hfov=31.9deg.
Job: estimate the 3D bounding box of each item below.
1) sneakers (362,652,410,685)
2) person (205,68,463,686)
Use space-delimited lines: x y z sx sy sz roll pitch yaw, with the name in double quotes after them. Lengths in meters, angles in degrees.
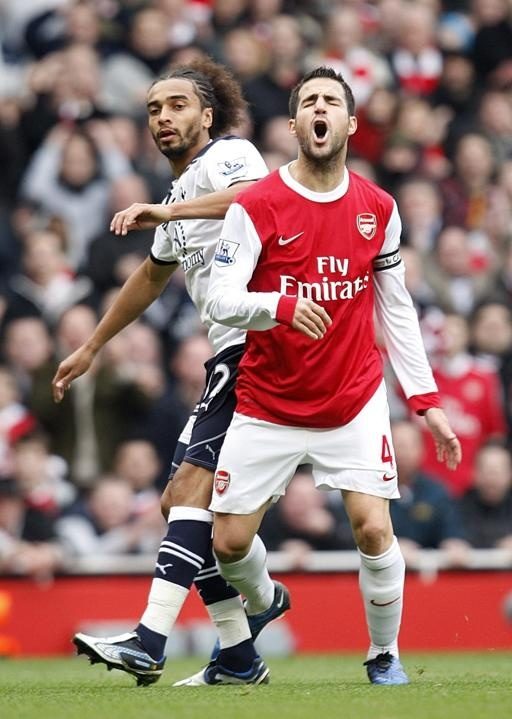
0.444 1.048 3.028 0.097 0.059 0.156 -1 -12 -8 "sneakers"
0.245 0.079 3.032 0.679 2.122 0.861 7 16 45 "person"
